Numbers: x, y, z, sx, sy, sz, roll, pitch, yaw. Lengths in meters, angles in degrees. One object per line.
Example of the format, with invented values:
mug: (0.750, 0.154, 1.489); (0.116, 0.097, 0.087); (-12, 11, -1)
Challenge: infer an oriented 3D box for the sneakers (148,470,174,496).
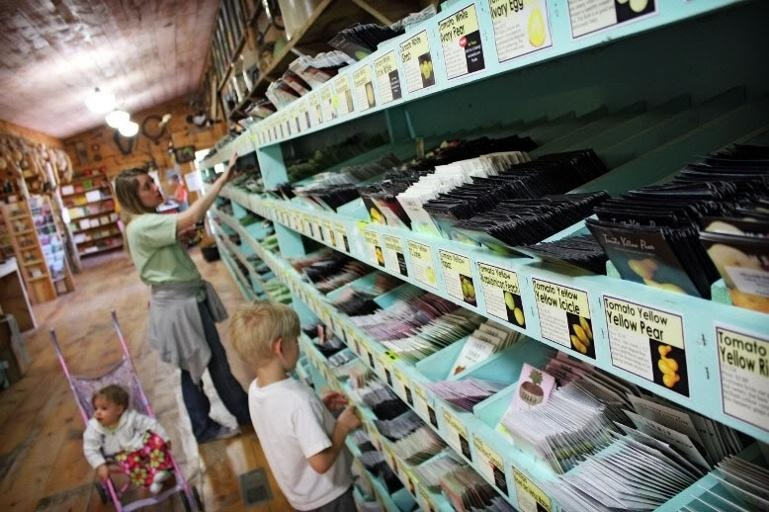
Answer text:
sneakers: (-1.641, 1.635, 3.109); (0.080, 0.183, 0.149); (31, 14, -7)
